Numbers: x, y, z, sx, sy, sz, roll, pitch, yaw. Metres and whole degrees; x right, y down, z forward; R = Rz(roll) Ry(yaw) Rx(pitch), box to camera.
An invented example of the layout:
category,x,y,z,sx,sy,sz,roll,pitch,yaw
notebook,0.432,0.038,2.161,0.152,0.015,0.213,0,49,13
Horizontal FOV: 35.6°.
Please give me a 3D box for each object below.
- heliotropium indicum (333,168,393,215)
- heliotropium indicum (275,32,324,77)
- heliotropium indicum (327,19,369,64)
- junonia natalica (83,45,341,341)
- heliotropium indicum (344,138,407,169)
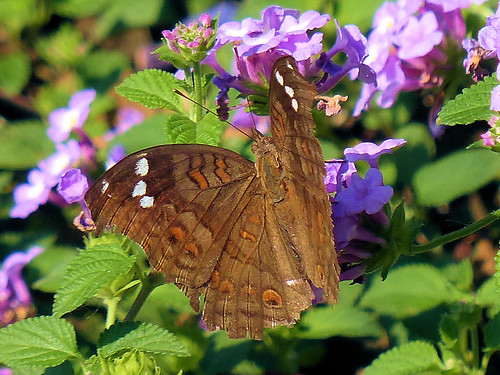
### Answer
category,x,y,z,sx,sy,sz,roll,pitch,yaw
heliotropium indicum,0.542,0.035,3.802,0.293,0.148,0.205,-9,34,6
heliotropium indicum,0.243,-0.634,3.719,0.167,0.179,0.153,-3,20,-10
heliotropium indicum,0.505,-0.713,3.860,0.194,0.205,0.081,17,25,29
junonia natalica,-0.060,0.072,4.275,1.351,1.308,0.934,0,-3,7
heliotropium indicum,0.622,-0.177,3.919,0.298,0.185,0.191,-11,34,3
